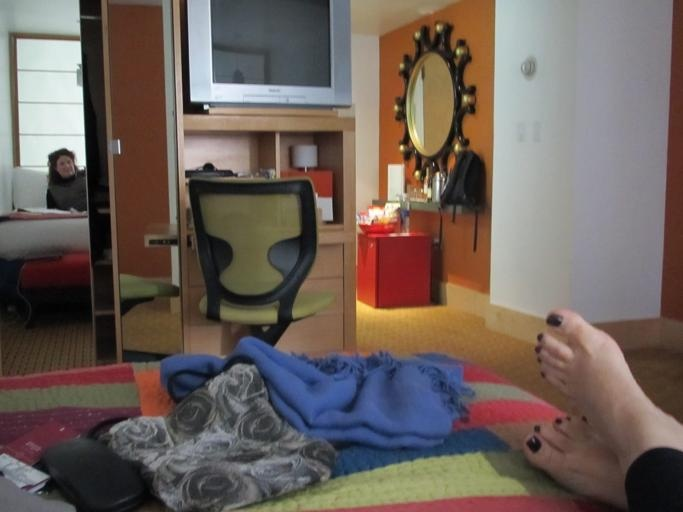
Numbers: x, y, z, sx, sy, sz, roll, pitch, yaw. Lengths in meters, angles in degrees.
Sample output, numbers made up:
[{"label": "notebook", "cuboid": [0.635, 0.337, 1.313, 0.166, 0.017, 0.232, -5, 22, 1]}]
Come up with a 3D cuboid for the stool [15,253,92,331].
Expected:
[{"label": "stool", "cuboid": [-1.467, 0.155, 3.031, 0.362, 0.353, 0.395, -4, 11, -11]}]

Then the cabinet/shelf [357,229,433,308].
[{"label": "cabinet/shelf", "cuboid": [0.361, 0.121, 4.665, 0.410, 0.604, 0.580, 0, 3, -11]}]

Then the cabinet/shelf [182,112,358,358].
[{"label": "cabinet/shelf", "cuboid": [-0.225, -0.075, 3.143, 0.769, 1.521, 0.509, 5, 24, 18]}]

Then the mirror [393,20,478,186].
[{"label": "mirror", "cuboid": [0.773, -1.238, 4.530, 0.080, 1.429, 1.230, -3, 9, -25]}]

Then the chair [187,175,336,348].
[{"label": "chair", "cuboid": [-0.329, -0.057, 2.618, 0.584, 1.049, 0.618, 3, 10, 6]}]

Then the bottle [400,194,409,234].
[{"label": "bottle", "cuboid": [0.540, -0.362, 4.852, 0.087, 0.313, 0.319, 2, 8, 7]}]
